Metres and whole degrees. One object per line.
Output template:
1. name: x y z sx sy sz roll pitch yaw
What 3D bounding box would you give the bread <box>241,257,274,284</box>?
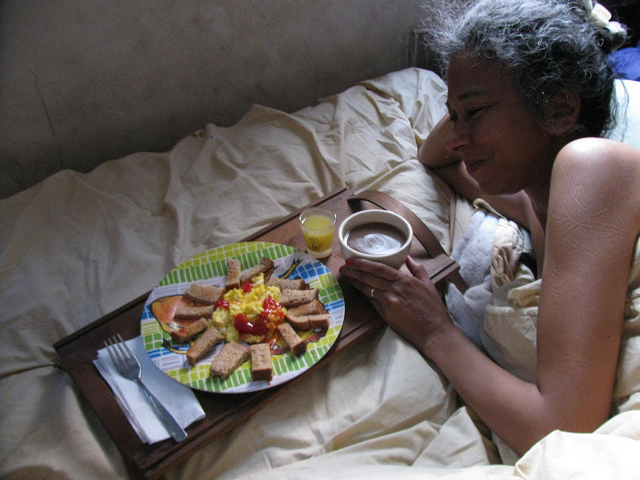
1. bread: -0.200 0.095 1.592 0.101 0.026 0.054 -35 43 -18

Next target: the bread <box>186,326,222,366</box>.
1. bread: -0.331 0.312 1.407 0.068 0.044 0.168 0 15 6

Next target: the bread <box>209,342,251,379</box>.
1. bread: -0.252 0.327 1.367 0.067 0.028 0.099 17 43 18

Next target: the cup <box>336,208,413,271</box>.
1. cup: 0.181 -0.006 1.569 0.194 0.156 0.207 -2 48 3

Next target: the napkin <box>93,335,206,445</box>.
1. napkin: -0.474 0.400 1.346 0.187 0.036 0.312 -26 62 -23

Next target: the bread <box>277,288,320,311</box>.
1. bread: -0.067 0.174 1.515 0.071 0.019 0.075 12 46 15

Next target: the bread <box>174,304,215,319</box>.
1. bread: -0.377 0.217 1.486 0.084 0.019 0.050 0 44 2

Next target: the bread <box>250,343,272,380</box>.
1. bread: -0.156 0.342 1.370 0.058 0.029 0.122 -6 40 -4

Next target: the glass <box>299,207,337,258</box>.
1. glass: -0.002 -0.023 1.689 0.114 0.139 0.120 -22 44 -22
